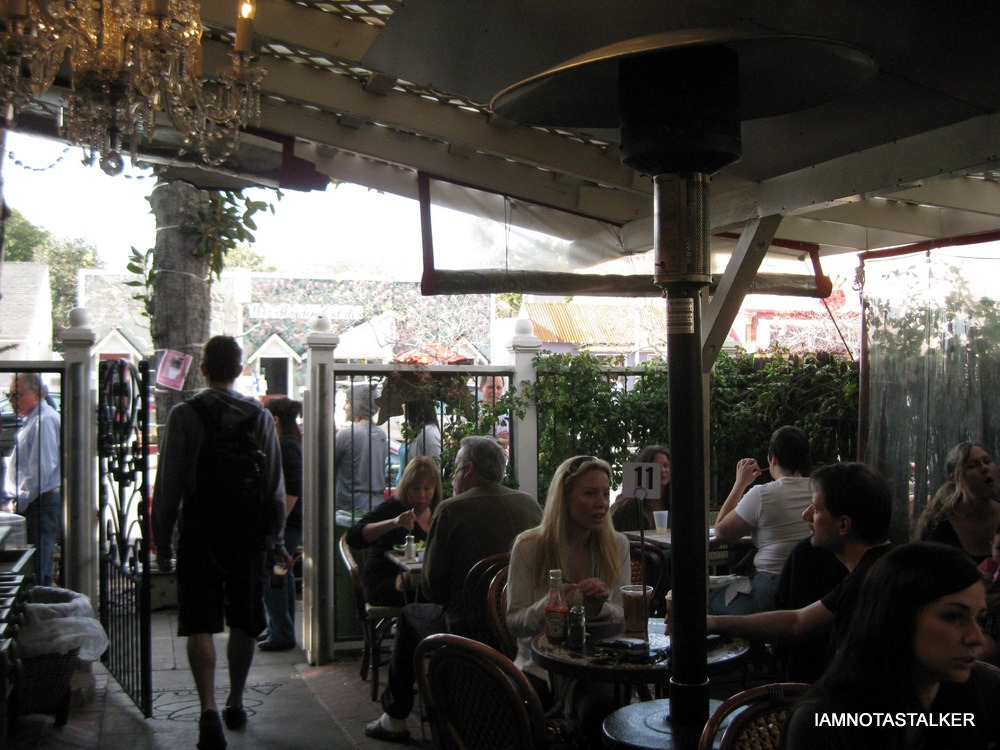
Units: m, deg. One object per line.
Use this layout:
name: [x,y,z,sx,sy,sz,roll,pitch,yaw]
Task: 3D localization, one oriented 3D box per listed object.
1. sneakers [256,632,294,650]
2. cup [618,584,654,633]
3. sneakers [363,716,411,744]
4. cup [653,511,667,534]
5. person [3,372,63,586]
sneakers: [-1.880,2.261,8.695,0.367,0.159,0.129,7,-6,-5]
cup: [0.716,1.150,4.995,0.202,0.236,0.181,4,-11,-18]
sneakers: [-0.703,2.253,6.534,0.260,0.113,0.146,1,-7,40]
cup: [1.294,1.173,8.121,0.132,0.156,0.139,-3,-4,0]
person: [-4.035,0.900,8.843,0.442,1.829,0.957,3,-3,-26]
